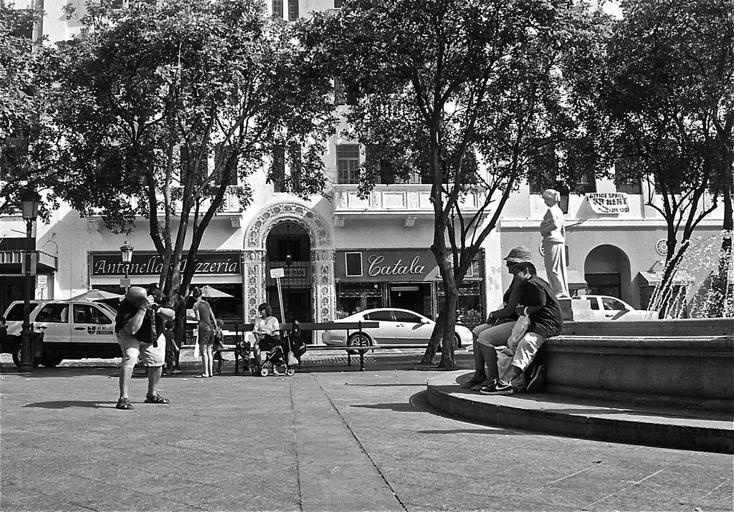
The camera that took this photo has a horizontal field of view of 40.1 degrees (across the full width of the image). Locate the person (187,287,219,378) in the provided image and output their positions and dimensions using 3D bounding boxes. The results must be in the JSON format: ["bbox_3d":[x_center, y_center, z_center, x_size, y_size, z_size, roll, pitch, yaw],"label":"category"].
[{"bbox_3d":[-4.144,2.008,25.823,0.557,2.273,0.908,0,-2,-4],"label":"person"}]

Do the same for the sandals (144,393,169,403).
[{"bbox_3d":[-4.275,2.904,20.459,0.555,0.227,0.199,1,0,-1],"label":"sandals"}]

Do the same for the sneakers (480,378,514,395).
[{"bbox_3d":[2.455,2.484,19.034,0.659,0.267,0.254,1,-12,0],"label":"sneakers"}]

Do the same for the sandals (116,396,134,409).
[{"bbox_3d":[-4.722,2.909,19.656,0.157,0.161,0.419,9,-17,-38],"label":"sandals"}]

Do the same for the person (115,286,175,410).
[{"bbox_3d":[-4.439,1.815,19.985,0.880,2.394,1.331,-1,-2,12],"label":"person"}]

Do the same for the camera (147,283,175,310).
[{"bbox_3d":[-4.921,0.990,24.122,0.614,0.444,0.786,-1,-1,-5],"label":"camera"}]

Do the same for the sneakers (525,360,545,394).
[{"bbox_3d":[3.157,2.335,19.199,0.255,0.651,0.283,11,3,-7],"label":"sneakers"}]

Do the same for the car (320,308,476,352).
[{"bbox_3d":[1.245,2.592,34.785,4.942,1.369,1.980,0,-4,-8],"label":"car"}]

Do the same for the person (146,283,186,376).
[{"bbox_3d":[-4.800,1.746,24.062,0.915,2.699,1.087,-2,-39,1],"label":"person"}]

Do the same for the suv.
[{"bbox_3d":[-8.845,2.291,30.556,4.120,1.855,2.210,-2,-3,-9],"label":"suv"}]

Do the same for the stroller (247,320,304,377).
[{"bbox_3d":[-2.369,2.542,26.430,1.547,1.409,1.236,-1,-3,-7],"label":"stroller"}]

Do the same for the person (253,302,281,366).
[{"bbox_3d":[-2.638,2.132,25.748,0.741,1.751,0.942,4,11,18],"label":"person"}]

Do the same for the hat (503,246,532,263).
[{"bbox_3d":[2.916,0.011,19.429,0.471,0.245,0.454,3,-3,6],"label":"hat"}]
